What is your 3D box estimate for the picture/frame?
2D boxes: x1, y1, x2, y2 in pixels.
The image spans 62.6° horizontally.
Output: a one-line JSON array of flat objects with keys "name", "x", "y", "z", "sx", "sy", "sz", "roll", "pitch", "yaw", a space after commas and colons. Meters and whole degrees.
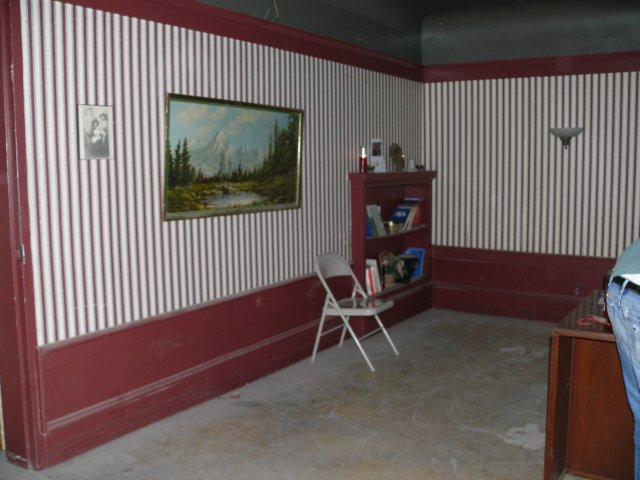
[{"name": "picture/frame", "x": -0.723, "y": -0.705, "z": 4.583, "sx": 0.058, "sy": 0.949, "sz": 1.627, "roll": 13, "pitch": 15, "yaw": 34}]

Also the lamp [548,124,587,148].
[{"name": "lamp", "x": 3.029, "y": -1.263, "z": 6.379, "sx": 0.310, "sy": 0.221, "sz": 0.089, "roll": 1, "pitch": 4, "yaw": 38}]

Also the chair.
[{"name": "chair", "x": 0.332, "y": 0.669, "z": 5.223, "sx": 0.807, "sy": 1.045, "sz": 0.821, "roll": -6, "pitch": 7, "yaw": -36}]

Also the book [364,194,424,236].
[{"name": "book", "x": 0.932, "y": -0.272, "z": 6.512, "sx": 0.333, "sy": 0.410, "sz": 1.170, "roll": 2, "pitch": 5, "yaw": 36}]
